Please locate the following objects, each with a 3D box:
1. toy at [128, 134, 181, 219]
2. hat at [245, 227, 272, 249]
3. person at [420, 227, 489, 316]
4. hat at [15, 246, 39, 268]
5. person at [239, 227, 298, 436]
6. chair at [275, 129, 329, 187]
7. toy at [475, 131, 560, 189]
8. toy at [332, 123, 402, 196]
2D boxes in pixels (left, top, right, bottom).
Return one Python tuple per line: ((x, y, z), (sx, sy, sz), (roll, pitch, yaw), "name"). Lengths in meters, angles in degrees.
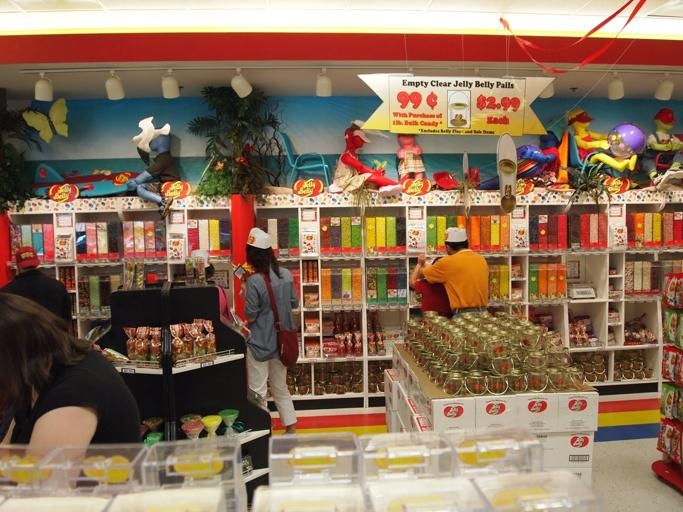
((-2.186, -0.955, 7.583), (0.604, 1.003, 0.634), (-3, 3, 0), "toy")
((-0.803, -0.175, 6.463), (0.211, 0.217, 0.180), (-2, 3, 28), "hat")
((1.165, 0.144, 6.629), (0.649, 0.860, 0.326), (-3, 3, 8), "person")
((-3.257, 0.008, 6.777), (0.175, 0.147, 0.271), (-5, 12, -38), "hat")
((-0.739, 0.779, 6.449), (0.486, 2.113, 0.758), (-2, 3, 23), "person")
((-0.410, -1.261, 8.221), (0.646, 0.853, 0.595), (-4, 14, 4), "chair")
((2.054, -1.104, 7.467), (0.960, 0.496, 0.319), (-26, 43, -16), "toy")
((0.379, -1.151, 7.835), (0.868, 0.973, 0.791), (-3, 4, -10), "toy")
